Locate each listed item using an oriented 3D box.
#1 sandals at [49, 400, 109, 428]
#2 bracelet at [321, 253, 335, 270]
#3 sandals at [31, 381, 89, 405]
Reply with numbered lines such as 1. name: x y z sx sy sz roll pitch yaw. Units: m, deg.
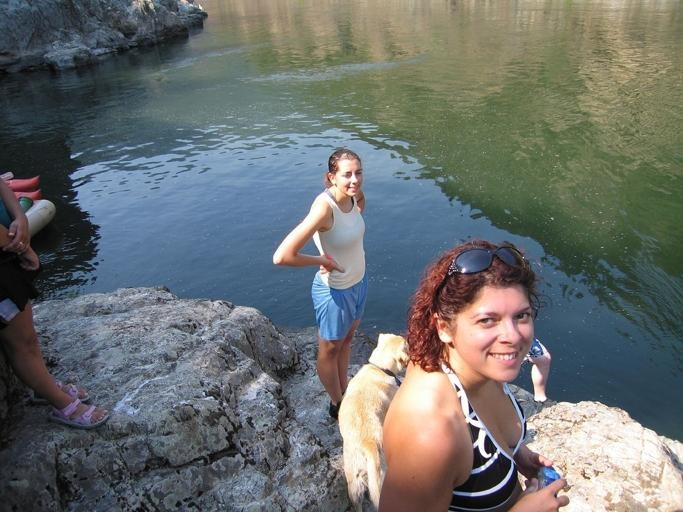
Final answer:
1. sandals: -2.141 1.335 3.983 0.416 0.171 0.199 7 30 -5
2. bracelet: -0.112 0.078 4.924 0.126 0.190 0.104 -9 27 -2
3. sandals: -2.394 1.186 4.065 0.491 0.129 0.186 5 30 -23
